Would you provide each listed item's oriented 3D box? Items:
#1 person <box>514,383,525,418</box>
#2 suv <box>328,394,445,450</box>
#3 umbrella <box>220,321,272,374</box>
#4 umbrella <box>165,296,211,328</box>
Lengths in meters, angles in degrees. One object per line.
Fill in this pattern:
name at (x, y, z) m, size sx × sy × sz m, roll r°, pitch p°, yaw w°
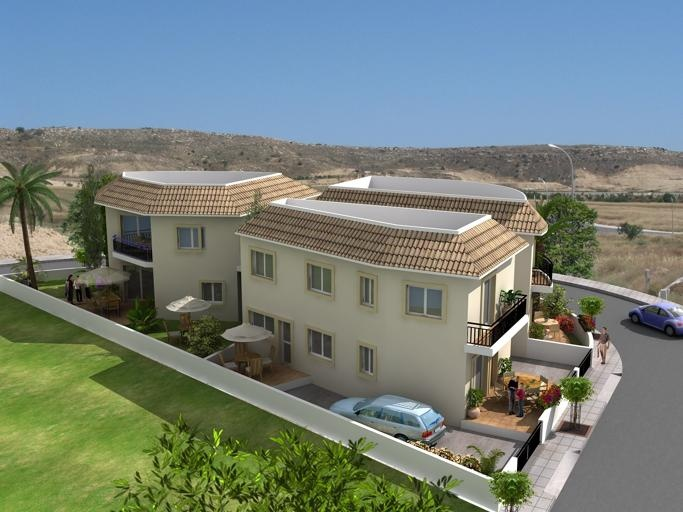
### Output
person at (8.186, 6.646, 26.078) m, size 0.462 × 1.262 × 0.923 m, roll 4°, pitch 9°, yaw 18°
suv at (2.033, 6.759, 24.595) m, size 4.595 × 1.255 × 1.973 m, roll 11°, pitch 16°, yaw 26°
umbrella at (-5.261, 4.958, 30.894) m, size 2.915 × 2.216 × 2.722 m, roll 0°, pitch 5°, yaw -2°
umbrella at (-9.336, 3.630, 34.881) m, size 2.469 × 1.399 × 2.462 m, roll 1°, pitch -8°, yaw -45°
